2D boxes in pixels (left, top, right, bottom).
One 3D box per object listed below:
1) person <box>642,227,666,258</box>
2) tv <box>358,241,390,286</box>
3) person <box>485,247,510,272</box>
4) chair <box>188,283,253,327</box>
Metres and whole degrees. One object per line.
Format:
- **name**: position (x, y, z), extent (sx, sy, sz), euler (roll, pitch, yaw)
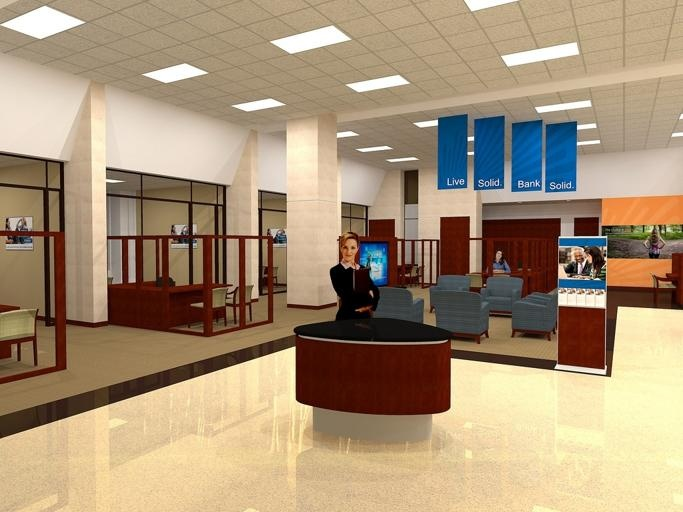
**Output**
- **person**: position (11.151, -0.464, 17.578), extent (0.627, 1.124, 0.179), euler (3, 6, 30)
- **tv**: position (0.664, 0.120, 10.209), extent (0.100, 1.016, 1.044), euler (-2, -2, 33)
- **person**: position (4.990, 0.138, 15.800), extent (0.875, 0.818, 0.514), euler (-1, -5, 36)
- **chair**: position (-2.615, 0.980, 10.876), extent (0.896, 1.172, 1.273), euler (2, 1, 32)
